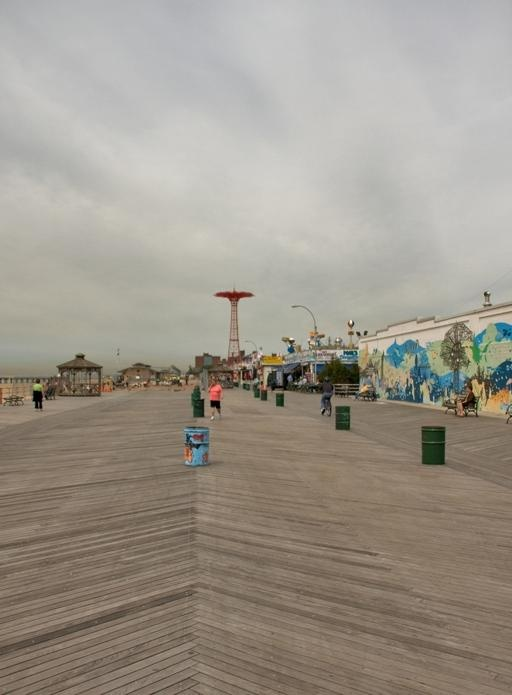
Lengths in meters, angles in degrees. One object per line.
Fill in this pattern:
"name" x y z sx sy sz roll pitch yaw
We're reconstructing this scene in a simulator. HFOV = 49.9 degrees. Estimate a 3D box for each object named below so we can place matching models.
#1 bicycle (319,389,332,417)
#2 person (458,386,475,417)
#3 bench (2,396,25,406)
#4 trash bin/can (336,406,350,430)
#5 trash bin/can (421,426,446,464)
"bicycle" 3.321 2.572 25.766 0.819 1.036 1.782 2 6 3
"person" 9.662 2.490 25.047 0.593 0.924 1.537 -1 -4 9
"bench" -16.332 3.602 37.092 1.007 0.674 0.807 1 -7 10
"trash bin/can" 2.917 2.366 18.337 0.437 0.807 0.459 -1 -2 0
"trash bin/can" 3.664 2.023 11.317 0.434 0.790 0.345 -1 -2 9
